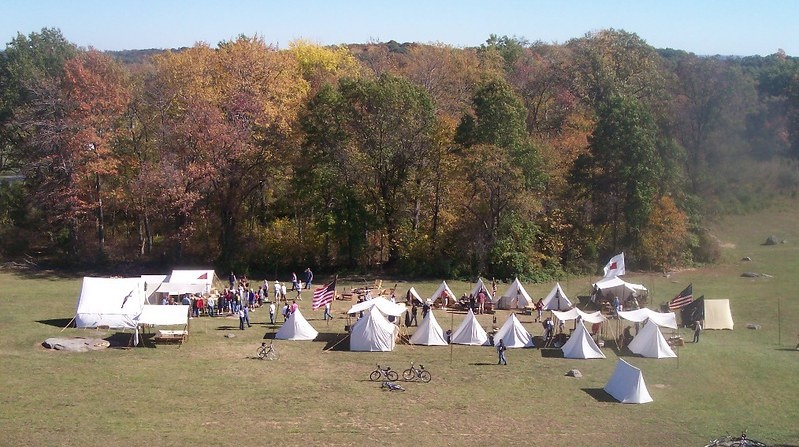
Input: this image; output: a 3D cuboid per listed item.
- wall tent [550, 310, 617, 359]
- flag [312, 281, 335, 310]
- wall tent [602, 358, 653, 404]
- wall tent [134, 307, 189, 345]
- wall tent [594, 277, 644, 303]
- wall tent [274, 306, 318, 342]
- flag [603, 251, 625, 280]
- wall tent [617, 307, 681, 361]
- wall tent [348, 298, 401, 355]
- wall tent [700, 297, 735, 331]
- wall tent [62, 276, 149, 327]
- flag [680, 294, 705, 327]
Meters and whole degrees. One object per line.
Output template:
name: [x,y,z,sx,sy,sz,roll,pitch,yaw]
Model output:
wall tent: [23.902,14.209,161.407,5.440,2.397,6.783,3,29,12]
flag: [-9.971,9.810,167.024,4.084,4.903,0.583,2,7,-7]
wall tent: [28.427,20.190,153.816,5.368,3.910,6.271,-8,9,-18]
wall tent: [-29.817,12.650,159.752,6.546,4.073,4.255,-2,39,4]
wall tent: [30.327,8.918,171.579,5.988,2.941,2.730,0,-5,3]
wall tent: [-13.683,13.036,162.138,4.414,2.510,4.270,0,2,-36]
flag: [30.873,6.058,177.037,1.031,4.015,4.214,2,-1,-40]
wall tent: [32.663,14.629,161.273,8.117,4.061,5.818,-5,7,-20]
wall tent: [-2.988,13.555,161.046,6.238,3.162,8.209,0,8,0]
wall tent: [42.703,12.151,166.302,3.749,3.973,1.024,0,-4,4]
wall tent: [-37.262,10.802,161.979,7.531,4.544,6.953,3,43,-9]
flag: [39.304,11.750,166.058,4.751,5.713,0.445,0,1,16]
